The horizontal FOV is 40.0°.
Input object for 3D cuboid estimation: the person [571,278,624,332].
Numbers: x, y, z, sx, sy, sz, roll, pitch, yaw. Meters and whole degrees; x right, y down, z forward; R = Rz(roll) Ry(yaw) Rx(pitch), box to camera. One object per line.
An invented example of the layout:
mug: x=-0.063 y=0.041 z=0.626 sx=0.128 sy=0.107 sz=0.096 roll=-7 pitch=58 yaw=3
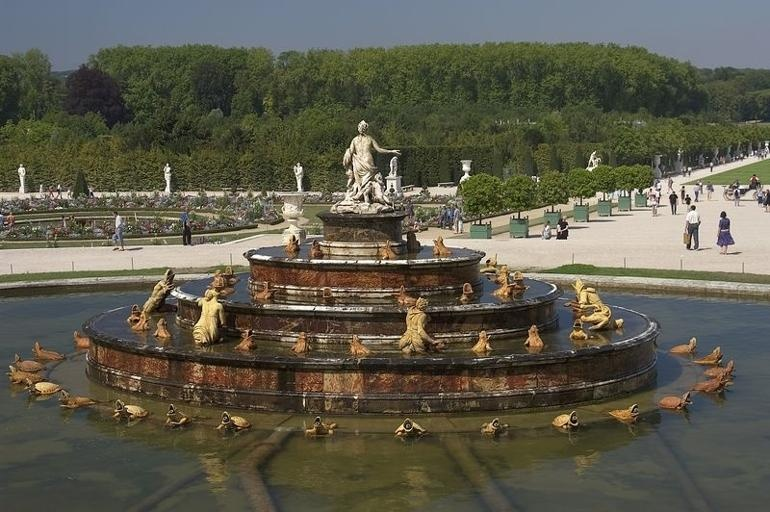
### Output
person: x=4.754 y=0.947 z=24.320 sx=0.901 sy=0.615 sz=1.341 roll=-23 pitch=21 yaw=-37

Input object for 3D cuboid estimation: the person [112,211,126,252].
person: x=-9.813 y=-0.975 z=38.935 sx=0.401 sy=1.375 sz=2.751 roll=-3 pitch=4 yaw=-13

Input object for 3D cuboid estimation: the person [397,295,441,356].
person: x=0.789 y=1.419 z=21.875 sx=0.960 sy=1.102 sz=0.876 roll=7 pitch=11 yaw=5

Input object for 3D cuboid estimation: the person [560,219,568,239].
person: x=6.675 y=-1.023 z=39.666 sx=0.284 sy=0.743 sz=0.351 roll=0 pitch=5 yaw=27

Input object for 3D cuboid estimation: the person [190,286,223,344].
person: x=-3.744 y=1.258 z=22.354 sx=0.648 sy=1.147 sz=0.545 roll=-3 pitch=4 yaw=-11

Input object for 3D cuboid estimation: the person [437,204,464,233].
person: x=2.798 y=-1.584 z=45.181 sx=1.107 sy=1.946 sz=0.704 roll=9 pitch=14 yaw=43
